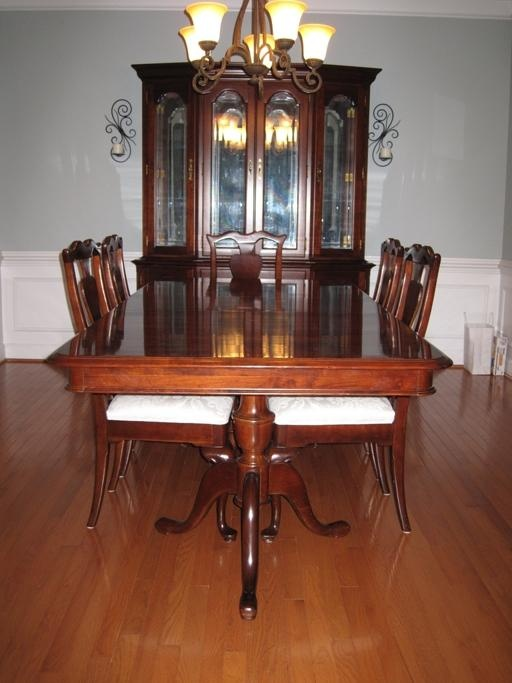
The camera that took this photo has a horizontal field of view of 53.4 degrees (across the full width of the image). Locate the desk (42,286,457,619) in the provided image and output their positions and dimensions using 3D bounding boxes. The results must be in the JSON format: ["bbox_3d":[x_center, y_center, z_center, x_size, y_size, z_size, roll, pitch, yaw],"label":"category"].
[{"bbox_3d":[-0.045,0.261,1.706,1.022,0.795,1.189,1,6,0],"label":"desk"}]

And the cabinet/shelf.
[{"bbox_3d":[-0.022,-1.032,3.845,1.714,1.835,0.488,1,5,0],"label":"cabinet/shelf"}]

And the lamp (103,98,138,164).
[{"bbox_3d":[-1.088,-1.716,4.077,0.346,0.616,0.089,7,27,9],"label":"lamp"}]
